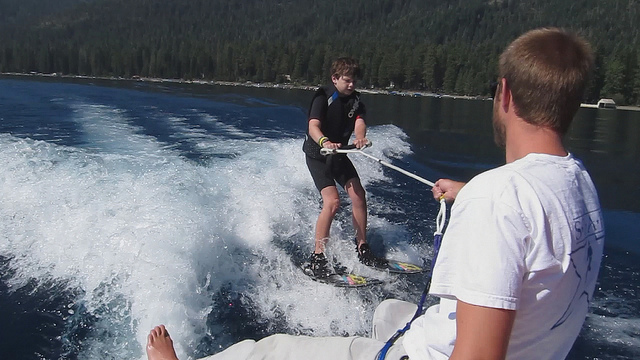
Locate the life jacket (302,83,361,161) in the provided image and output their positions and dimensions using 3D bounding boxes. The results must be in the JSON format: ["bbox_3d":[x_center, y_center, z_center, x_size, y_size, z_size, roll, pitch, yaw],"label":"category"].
[{"bbox_3d":[0.188,-0.819,6.402,0.799,1.045,0.570,-2,16,-9],"label":"life jacket"}]
